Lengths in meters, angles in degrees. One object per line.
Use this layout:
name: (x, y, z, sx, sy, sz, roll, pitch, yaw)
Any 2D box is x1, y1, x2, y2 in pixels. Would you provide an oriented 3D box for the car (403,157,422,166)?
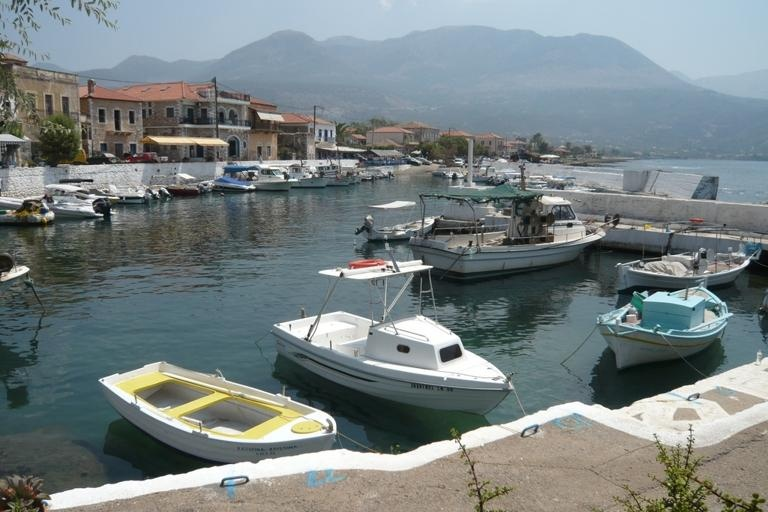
car: (7.273, -22.534, 135.959, 3.568, 1.505, 5.814, 2, 12, 8)

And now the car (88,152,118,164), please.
car: (-30.717, -10.597, 61.629, 3.121, 0.820, 1.499, -4, 13, -20)

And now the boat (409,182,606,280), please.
boat: (6.412, -1.582, 31.779, 10.159, 4.482, 5.476, -11, 17, -40)

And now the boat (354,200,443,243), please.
boat: (1.650, -2.271, 40.224, 8.135, 2.180, 2.149, -5, 16, -37)

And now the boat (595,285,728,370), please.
boat: (8.983, 2.458, 19.651, 6.275, 1.702, 3.064, -8, 13, -37)

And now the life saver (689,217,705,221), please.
life saver: (20.554, -2.346, 36.815, 0.691, 0.168, 0.615, -1, 5, -24)
